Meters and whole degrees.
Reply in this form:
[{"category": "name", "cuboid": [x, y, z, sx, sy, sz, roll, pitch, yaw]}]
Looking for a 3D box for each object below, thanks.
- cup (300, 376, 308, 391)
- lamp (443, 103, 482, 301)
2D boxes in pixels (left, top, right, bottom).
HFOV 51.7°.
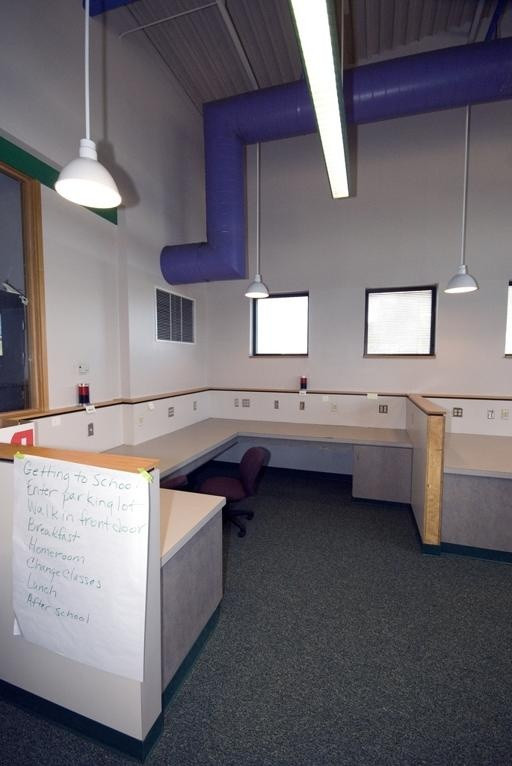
[{"category": "cup", "cuboid": [0.423, 0.013, 4.724, 0.061, 0.128, 0.088, 0, 11, 4]}, {"category": "lamp", "cuboid": [1.534, -1.351, 3.857, 0.244, 1.429, 0.846, 4, 12, 21]}]
